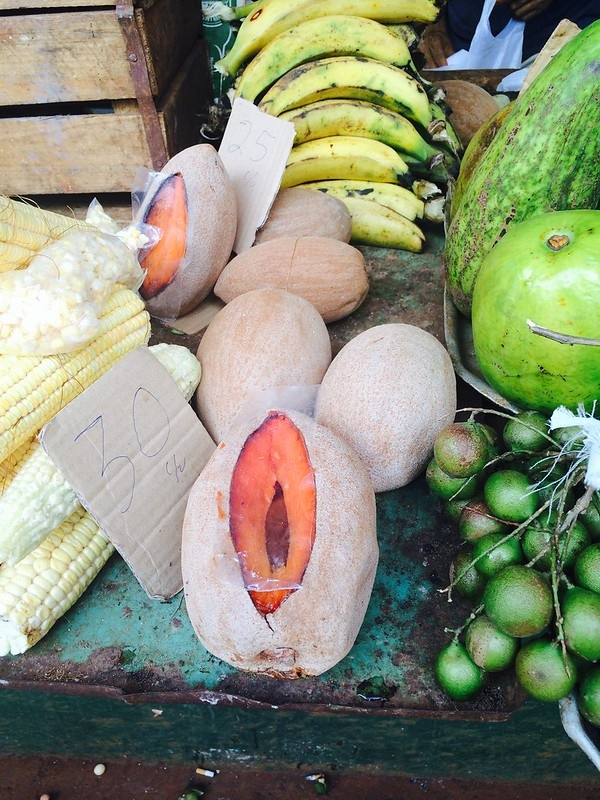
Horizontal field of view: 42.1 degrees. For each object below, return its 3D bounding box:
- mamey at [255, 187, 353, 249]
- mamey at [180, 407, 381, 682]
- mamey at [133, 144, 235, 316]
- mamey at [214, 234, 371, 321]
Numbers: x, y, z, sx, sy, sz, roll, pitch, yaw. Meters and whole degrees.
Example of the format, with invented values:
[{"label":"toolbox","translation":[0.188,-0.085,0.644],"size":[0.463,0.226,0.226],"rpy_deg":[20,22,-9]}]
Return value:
[{"label":"mamey","translation":[0.010,-0.441,1.911],"size":[0.224,0.120,0.117],"rpy_deg":[-13,99,1]},{"label":"mamey","translation":[-0.011,0.218,1.293],"size":[0.338,0.236,0.365],"rpy_deg":[0,81,11]},{"label":"mamey","translation":[-0.246,-0.371,1.806],"size":[0.249,0.236,0.351],"rpy_deg":[16,95,19]},{"label":"mamey","translation":[-0.017,-0.268,1.732],"size":[0.306,0.171,0.152],"rpy_deg":[-8,102,-1]}]
